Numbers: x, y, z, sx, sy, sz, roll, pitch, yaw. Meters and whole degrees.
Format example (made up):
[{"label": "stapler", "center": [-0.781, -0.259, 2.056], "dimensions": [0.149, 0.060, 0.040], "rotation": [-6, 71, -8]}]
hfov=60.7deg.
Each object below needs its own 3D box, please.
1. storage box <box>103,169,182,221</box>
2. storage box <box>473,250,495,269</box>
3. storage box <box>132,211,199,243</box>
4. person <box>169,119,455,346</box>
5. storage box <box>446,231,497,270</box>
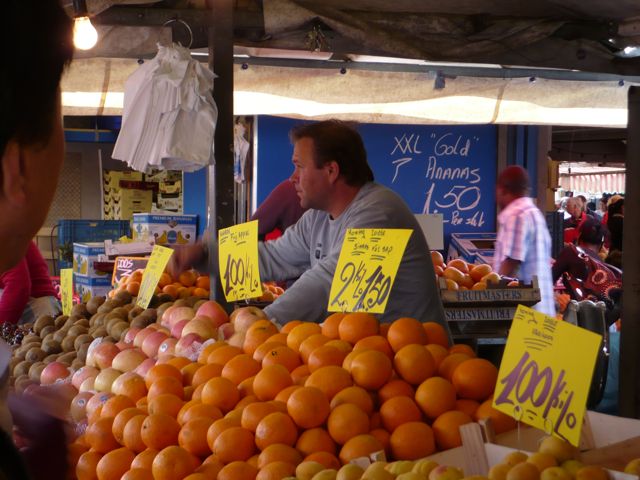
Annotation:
[{"label": "storage box", "center": [-3.288, -0.881, 10.250], "dimensions": [1.486, 1.121, 0.837], "rotation": [-1, 3, -6]}, {"label": "storage box", "center": [1.919, 0.204, 6.368], "dimensions": [0.246, 0.072, 0.265], "rotation": [27, 29, 9]}, {"label": "storage box", "center": [-1.397, -0.090, 4.937], "dimensions": [0.494, 0.278, 0.351], "rotation": [2, 1, -40]}, {"label": "person", "center": [-0.123, -0.022, 2.951], "dimensions": [1.295, 1.307, 0.909], "rotation": [-1, -5, -16]}, {"label": "storage box", "center": [1.901, 0.088, 6.711], "dimensions": [0.481, 0.531, 0.458], "rotation": [1, -21, -5]}]
